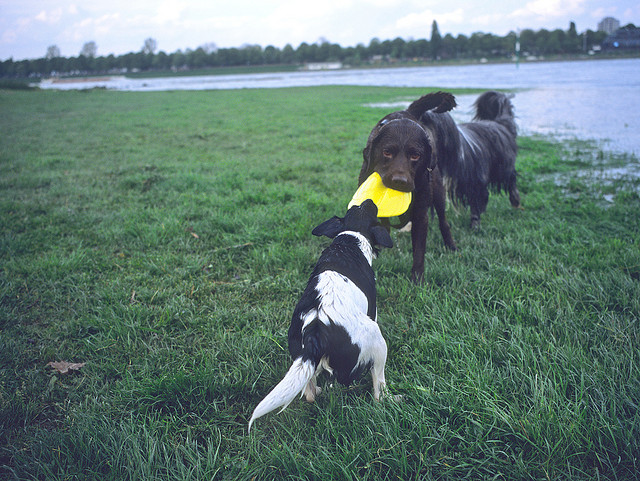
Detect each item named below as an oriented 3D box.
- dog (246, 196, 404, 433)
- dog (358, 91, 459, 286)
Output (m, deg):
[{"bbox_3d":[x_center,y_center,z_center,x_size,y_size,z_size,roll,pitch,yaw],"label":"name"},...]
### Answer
[{"bbox_3d":[0.240,0.668,4.822,0.824,1.155,2.207,7,59,23],"label":"dog"},{"bbox_3d":[1.121,-0.798,6.432,1.038,1.580,3.067,9,23,16],"label":"dog"}]
